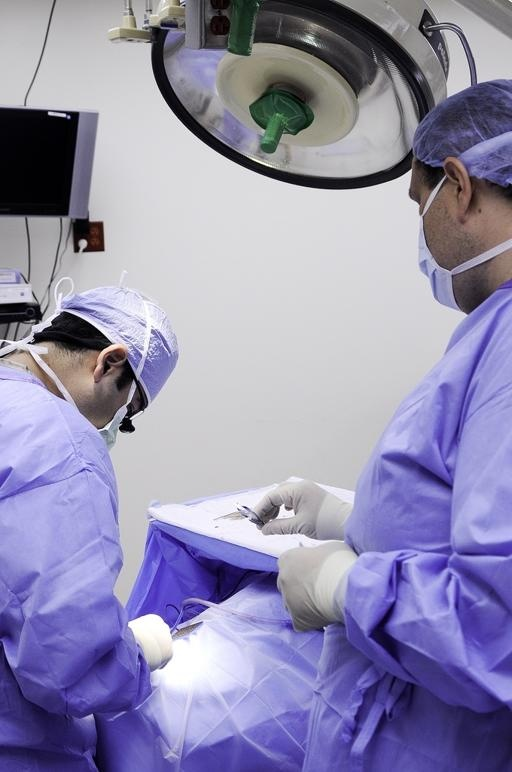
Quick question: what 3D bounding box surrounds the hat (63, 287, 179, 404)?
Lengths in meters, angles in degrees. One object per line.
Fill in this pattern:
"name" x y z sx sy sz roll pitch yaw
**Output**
"hat" -0.265 -0.093 1.613 0.277 0.236 0.245 -1 16 -11
